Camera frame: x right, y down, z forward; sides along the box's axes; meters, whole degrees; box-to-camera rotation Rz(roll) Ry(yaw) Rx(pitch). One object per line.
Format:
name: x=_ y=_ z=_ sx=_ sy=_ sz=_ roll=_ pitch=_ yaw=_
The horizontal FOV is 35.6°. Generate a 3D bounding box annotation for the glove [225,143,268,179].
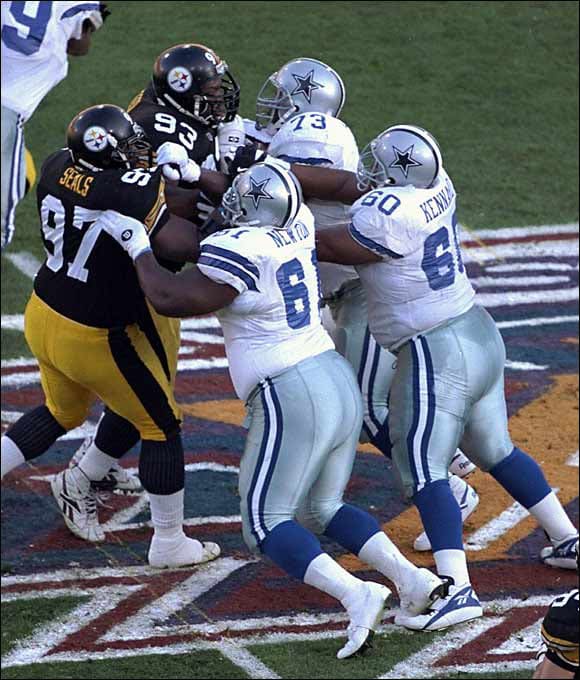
glove: x=-0.182 y=-0.739 z=3.701 sx=0.173 sy=0.064 sz=0.190 roll=-12 pitch=13 yaw=-8

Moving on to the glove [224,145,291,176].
glove: x=-0.132 y=-0.736 z=3.675 sx=0.210 sy=0.058 sz=0.128 roll=-8 pitch=14 yaw=12

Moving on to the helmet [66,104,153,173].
helmet: x=-0.676 y=-0.739 z=3.317 sx=0.253 sy=0.214 sz=0.191 roll=8 pitch=35 yaw=-6

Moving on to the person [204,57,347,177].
person: x=-0.009 y=-1.094 z=4.364 sx=0.990 sy=0.582 sz=0.602 roll=2 pitch=20 yaw=3

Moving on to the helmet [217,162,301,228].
helmet: x=-0.064 y=-0.546 z=3.304 sx=0.343 sy=0.206 sz=0.237 roll=10 pitch=30 yaw=21

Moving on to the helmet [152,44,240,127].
helmet: x=-0.379 y=-1.111 z=3.834 sx=0.504 sy=0.297 sz=0.299 roll=7 pitch=42 yaw=-4

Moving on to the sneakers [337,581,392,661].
sneakers: x=0.217 y=0.954 z=3.013 sx=0.137 sy=0.292 sz=0.205 roll=22 pitch=37 yaw=8

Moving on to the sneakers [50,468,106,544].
sneakers: x=-0.926 y=0.739 z=3.985 sx=0.353 sy=0.175 sz=0.131 roll=50 pitch=27 yaw=12
